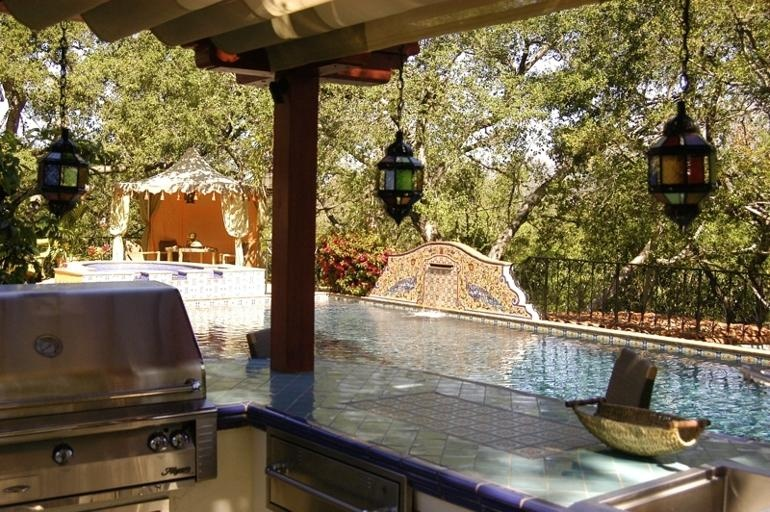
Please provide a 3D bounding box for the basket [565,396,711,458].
[{"bbox_3d":[1.598,1.008,3.834,0.419,0.333,0.837,3,0,-41],"label":"basket"}]

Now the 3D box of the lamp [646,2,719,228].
[{"bbox_3d":[1.994,-0.614,3.982,0.365,0.840,0.330,0,1,-13],"label":"lamp"}]
